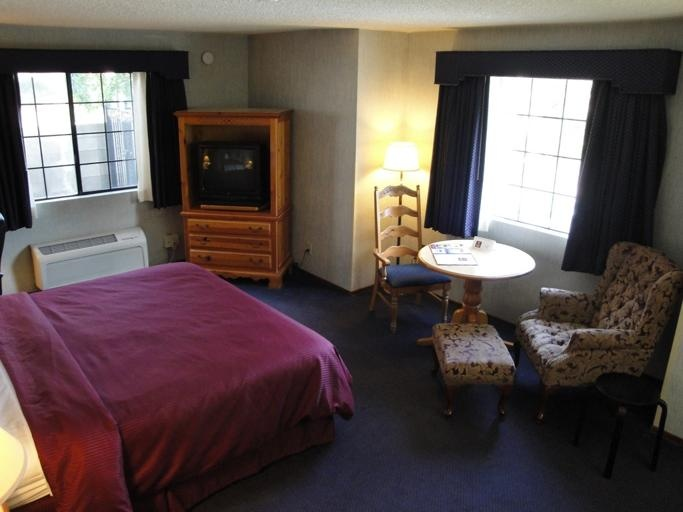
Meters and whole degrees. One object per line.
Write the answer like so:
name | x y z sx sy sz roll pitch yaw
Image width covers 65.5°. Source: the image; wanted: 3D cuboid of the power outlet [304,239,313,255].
power outlet | -0.408 -0.108 6.513 0.022 0.176 0.140 -13 21 -35

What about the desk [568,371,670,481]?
desk | 2.171 1.156 4.077 0.568 0.637 0.989 11 21 34

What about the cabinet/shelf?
cabinet/shelf | -1.245 -0.743 6.332 1.163 2.015 0.773 3 19 4

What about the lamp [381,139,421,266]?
lamp | 0.666 -0.656 5.887 0.394 1.207 0.522 1 17 6

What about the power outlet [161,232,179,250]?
power outlet | -2.150 -0.197 6.655 0.177 0.186 0.062 -12 21 -43

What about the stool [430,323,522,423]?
stool | 1.070 0.910 4.360 0.523 0.515 0.754 -1 12 1
